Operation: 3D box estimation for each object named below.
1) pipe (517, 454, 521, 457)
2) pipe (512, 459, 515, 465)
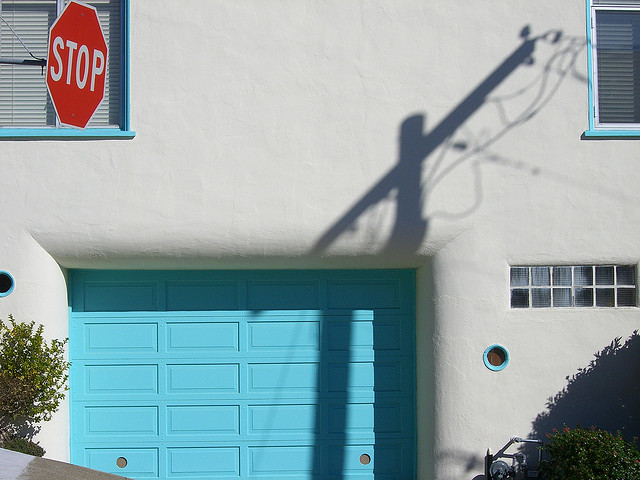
[{"bbox_3d":[2.451,2.640,15.715,0.023,0.023,0.013,2,-28,-8],"label":"pipe"},{"bbox_3d":[2.386,2.726,15.729,0.018,0.061,0.043,10,-24,-16],"label":"pipe"}]
